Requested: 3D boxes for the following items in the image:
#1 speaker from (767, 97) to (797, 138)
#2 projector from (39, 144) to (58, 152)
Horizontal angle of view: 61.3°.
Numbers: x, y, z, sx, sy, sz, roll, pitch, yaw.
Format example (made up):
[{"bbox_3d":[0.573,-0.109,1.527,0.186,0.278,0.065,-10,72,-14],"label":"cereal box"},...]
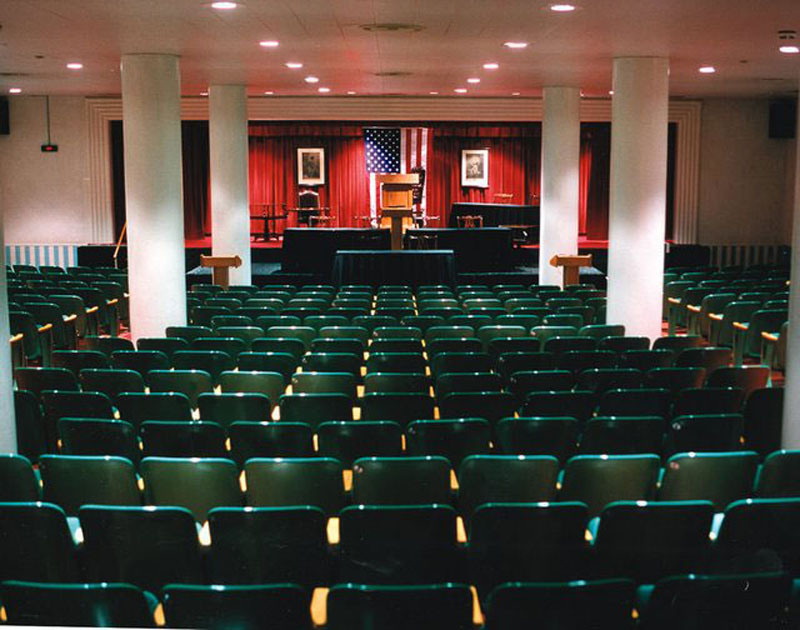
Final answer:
[{"bbox_3d":[10.148,-5.166,17.889,0.626,1.079,0.735,2,7,25],"label":"speaker"},{"bbox_3d":[-9.882,-4.634,19.020,0.488,0.267,0.173,0,7,9],"label":"projector"}]
